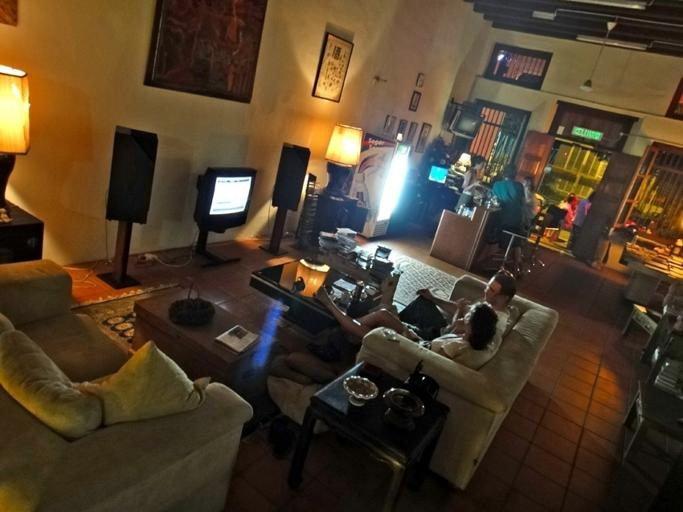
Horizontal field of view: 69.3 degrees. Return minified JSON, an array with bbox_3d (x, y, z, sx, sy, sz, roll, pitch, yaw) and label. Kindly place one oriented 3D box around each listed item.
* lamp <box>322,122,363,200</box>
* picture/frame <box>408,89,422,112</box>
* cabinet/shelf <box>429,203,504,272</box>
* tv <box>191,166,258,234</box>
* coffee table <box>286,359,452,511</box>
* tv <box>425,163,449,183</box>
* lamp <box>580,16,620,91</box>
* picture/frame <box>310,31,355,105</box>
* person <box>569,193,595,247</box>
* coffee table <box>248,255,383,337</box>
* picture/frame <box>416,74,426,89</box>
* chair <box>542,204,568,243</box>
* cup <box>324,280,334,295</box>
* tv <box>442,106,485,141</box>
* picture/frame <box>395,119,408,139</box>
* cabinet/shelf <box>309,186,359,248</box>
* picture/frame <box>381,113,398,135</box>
[{"bbox_3d":[-0.004,-1.406,7.257,0.458,0.991,0.575,10,17,-4],"label":"lamp"},{"bbox_3d":[1.345,-2.896,9.145,0.055,0.397,0.348,27,33,27],"label":"picture/frame"},{"bbox_3d":[2.157,-0.528,8.450,0.971,1.347,0.941,28,28,22],"label":"cabinet/shelf"},{"bbox_3d":[-1.416,-0.680,5.830,0.438,0.795,0.725,33,21,24],"label":"tv"},{"bbox_3d":[0.176,1.233,3.303,0.813,0.838,0.602,19,19,23],"label":"coffee table"},{"bbox_3d":[2.005,-1.696,10.224,0.381,0.338,0.356,14,18,7],"label":"tv"},{"bbox_3d":[4.746,-3.595,9.163,0.161,0.917,0.156,26,24,28],"label":"lamp"},{"bbox_3d":[-0.116,-2.659,7.014,0.207,0.899,0.690,18,19,22],"label":"picture/frame"},{"bbox_3d":[4.987,-0.723,10.371,0.232,1.353,0.606,17,18,19],"label":"person"},{"bbox_3d":[-0.356,0.350,5.020,1.076,0.409,0.722,30,35,32],"label":"coffee table"},{"bbox_3d":[1.446,-3.216,9.067,0.066,0.276,0.337,18,19,20],"label":"picture/frame"},{"bbox_3d":[4.655,-0.687,10.831,0.423,0.854,1.240,18,19,22],"label":"chair"},{"bbox_3d":[-0.131,0.329,5.128,0.078,0.081,0.098,2,7,5],"label":"cup"},{"bbox_3d":[2.614,-2.906,10.759,0.564,0.588,0.570,18,31,-31],"label":"tv"},{"bbox_3d":[1.097,-2.361,9.096,0.063,0.420,0.366,29,39,22],"label":"picture/frame"},{"bbox_3d":[-0.111,-0.642,7.634,0.771,0.851,0.777,7,16,8],"label":"cabinet/shelf"},{"bbox_3d":[0.827,-2.343,8.700,0.058,0.421,0.401,14,13,31],"label":"picture/frame"}]
